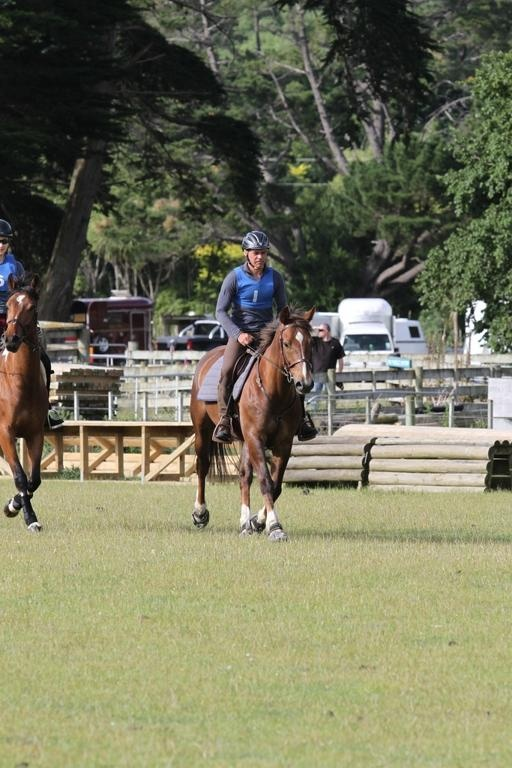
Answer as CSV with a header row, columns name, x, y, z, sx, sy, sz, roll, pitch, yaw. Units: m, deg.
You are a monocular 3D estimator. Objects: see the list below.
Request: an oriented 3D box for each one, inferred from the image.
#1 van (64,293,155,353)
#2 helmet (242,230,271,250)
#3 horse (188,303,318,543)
name,x,y,z,sx,sy,sz,roll,pitch,yaw
van,-4.014,-1.844,54.336,1.322,2.069,3.534,3,6,32
helmet,-0.013,-1.204,14.649,0.211,0.160,0.309,-3,5,-1
horse,-0.064,0.351,15.136,0.608,2.052,2.533,1,-1,-22
